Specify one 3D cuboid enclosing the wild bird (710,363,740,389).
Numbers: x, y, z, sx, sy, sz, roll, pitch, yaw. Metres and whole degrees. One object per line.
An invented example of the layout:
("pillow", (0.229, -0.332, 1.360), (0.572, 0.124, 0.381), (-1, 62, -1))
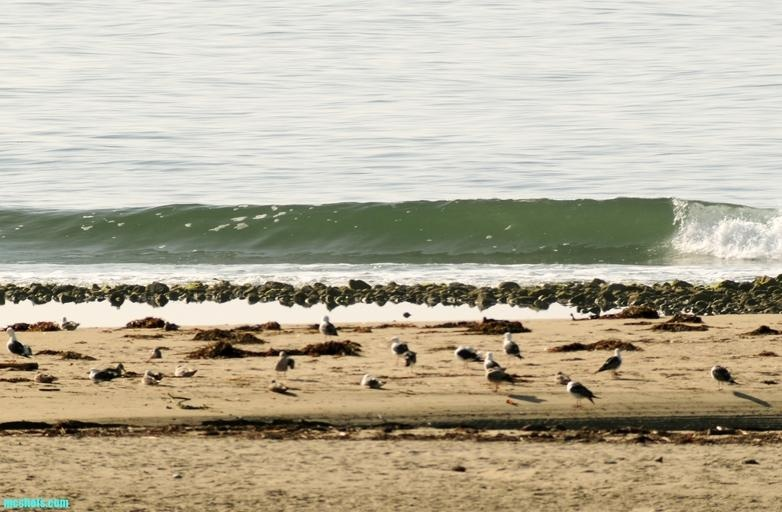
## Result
("wild bird", (7.482, 2.653, 38.959), (0.595, 0.436, 0.747), (1, 10, 7))
